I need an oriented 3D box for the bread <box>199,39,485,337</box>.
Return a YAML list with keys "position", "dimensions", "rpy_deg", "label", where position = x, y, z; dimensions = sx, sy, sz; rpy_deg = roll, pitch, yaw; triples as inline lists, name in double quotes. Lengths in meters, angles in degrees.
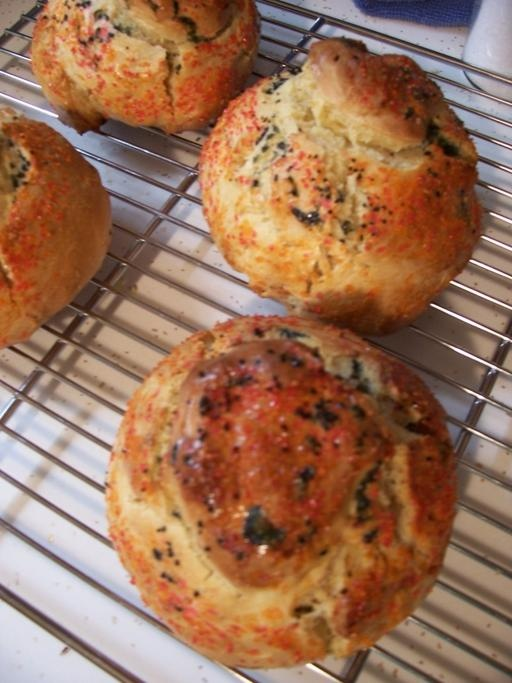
- position: [0.171, -0.324, 1.462]
  dimensions: [0.559, 0.460, 0.463]
  rpy_deg: [1, 54, 1]
  label: "bread"
